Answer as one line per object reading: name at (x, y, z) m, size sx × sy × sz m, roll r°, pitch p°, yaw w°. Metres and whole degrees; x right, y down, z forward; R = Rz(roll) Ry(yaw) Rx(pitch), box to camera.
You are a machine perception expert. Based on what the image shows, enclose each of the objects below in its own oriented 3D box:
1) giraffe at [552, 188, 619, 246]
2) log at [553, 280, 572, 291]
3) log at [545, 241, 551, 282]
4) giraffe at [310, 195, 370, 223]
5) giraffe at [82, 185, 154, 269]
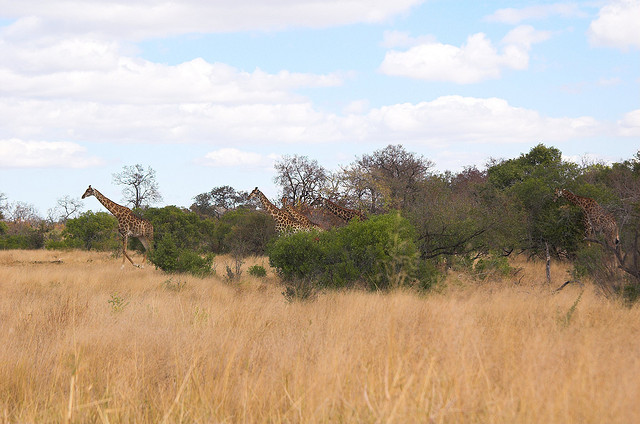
giraffe at (10.326, 0.268, 31.442) m, size 0.602 × 1.713 × 2.625 m, roll -31°, pitch 43°, yaw -31°
log at (8.028, 2.456, 26.752) m, size 0.452 × 0.104 × 0.118 m, roll -37°, pitch 17°, yaw -22°
log at (8.044, 1.728, 28.545) m, size 0.200 × 1.374 × 1.679 m, roll 0°, pitch -1°, yaw 16°
giraffe at (0.943, 0.236, 31.177) m, size 2.546 × 1.762 × 0.540 m, roll -1°, pitch -3°, yaw -27°
giraffe at (-8.384, 0.724, 34.821) m, size 2.406 × 3.141 × 4.845 m, roll 1°, pitch -1°, yaw -12°
